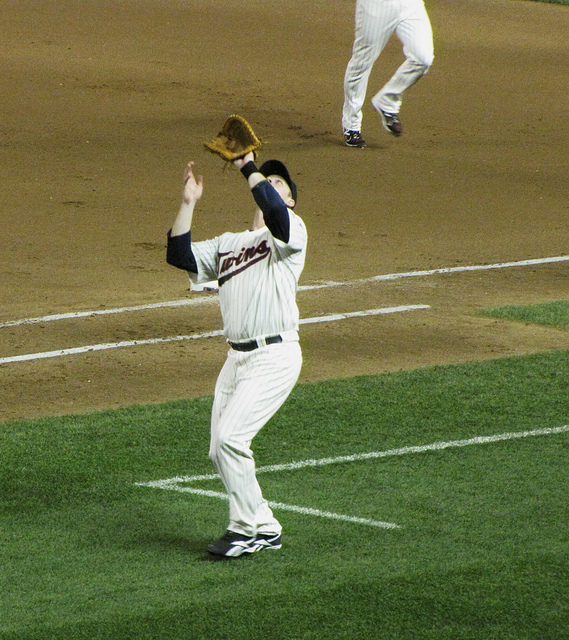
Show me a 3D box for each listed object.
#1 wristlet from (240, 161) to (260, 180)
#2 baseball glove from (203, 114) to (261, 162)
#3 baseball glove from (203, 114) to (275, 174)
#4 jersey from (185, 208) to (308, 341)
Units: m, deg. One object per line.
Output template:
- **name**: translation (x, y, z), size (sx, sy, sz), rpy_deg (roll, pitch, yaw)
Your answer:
- **wristlet**: translation (-0.262, -1.113, 11.910), size (0.129, 0.126, 0.136), rpy_deg (-4, 46, -19)
- **baseball glove**: translation (-0.386, -1.332, 12.046), size (0.406, 0.379, 0.402), rpy_deg (1, 15, -3)
- **baseball glove**: translation (-0.313, -1.352, 12.119), size (0.463, 0.373, 0.578), rpy_deg (-15, 31, -22)
- **jersey**: translation (-0.288, -0.286, 12.078), size (0.811, 0.769, 0.384), rpy_deg (4, 15, 7)
